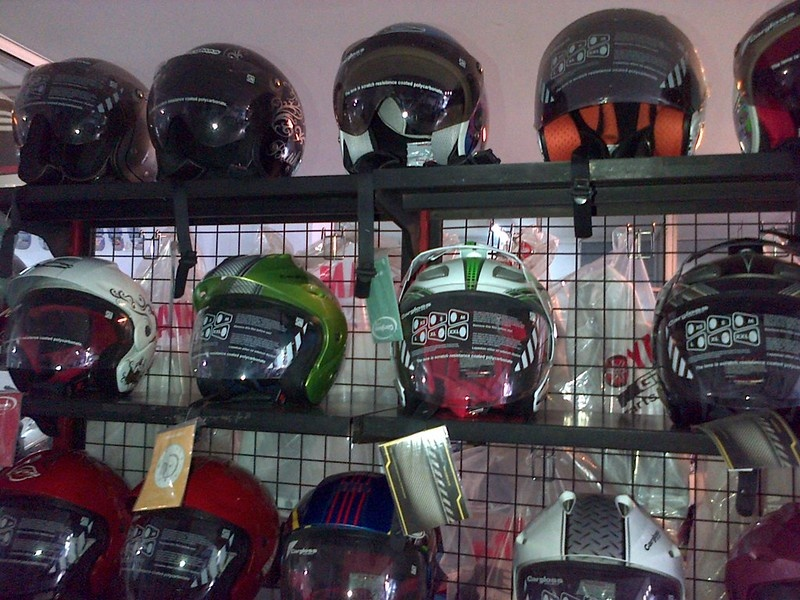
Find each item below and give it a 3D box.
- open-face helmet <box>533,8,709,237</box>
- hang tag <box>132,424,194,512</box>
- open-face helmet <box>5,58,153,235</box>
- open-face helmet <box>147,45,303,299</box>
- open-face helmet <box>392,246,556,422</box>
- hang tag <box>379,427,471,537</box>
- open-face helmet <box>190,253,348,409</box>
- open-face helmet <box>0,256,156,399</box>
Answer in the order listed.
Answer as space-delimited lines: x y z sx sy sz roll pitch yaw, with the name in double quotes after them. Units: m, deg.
0.566 -0.445 1.966 0.432 0.661 0.572 -1 -3 15 "open-face helmet"
-0.573 0.413 1.682 0.135 0.225 0.134 2 -8 1 "hang tag"
-0.943 -0.540 2.059 0.320 0.398 0.436 -1 7 28 "open-face helmet"
-0.513 -0.433 2.005 0.395 0.661 0.509 3 4 22 "open-face helmet"
0.209 0.115 1.820 0.334 0.393 0.436 -1 -13 11 "open-face helmet"
0.054 0.409 1.539 0.205 0.236 0.053 -11 -3 16 "hang tag"
-0.356 0.068 1.987 0.366 0.461 0.488 0 -3 24 "open-face helmet"
-0.907 0.099 2.050 0.320 0.365 0.405 -4 -14 17 "open-face helmet"
